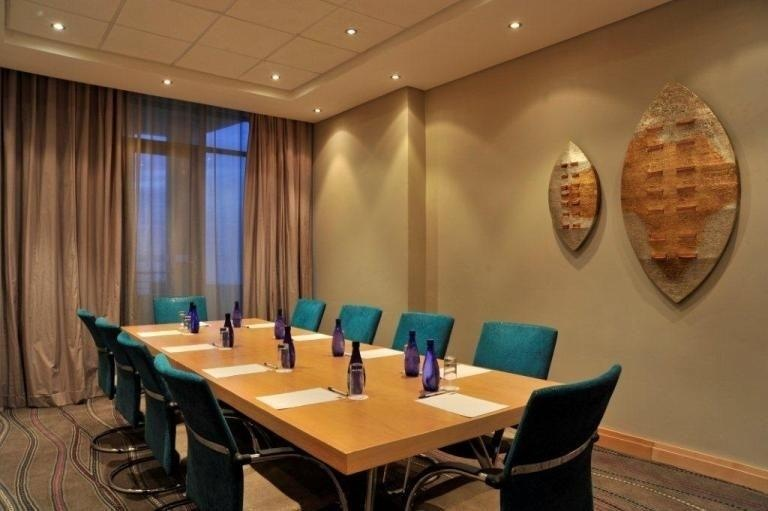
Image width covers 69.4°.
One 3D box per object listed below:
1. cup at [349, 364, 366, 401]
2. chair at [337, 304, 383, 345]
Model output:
[{"bbox_3d":[-0.180,0.843,3.716,0.133,0.223,0.129,0,7,0],"label":"cup"},{"bbox_3d":[-0.180,0.719,5.732,0.340,0.504,0.406,1,-7,38],"label":"chair"}]
